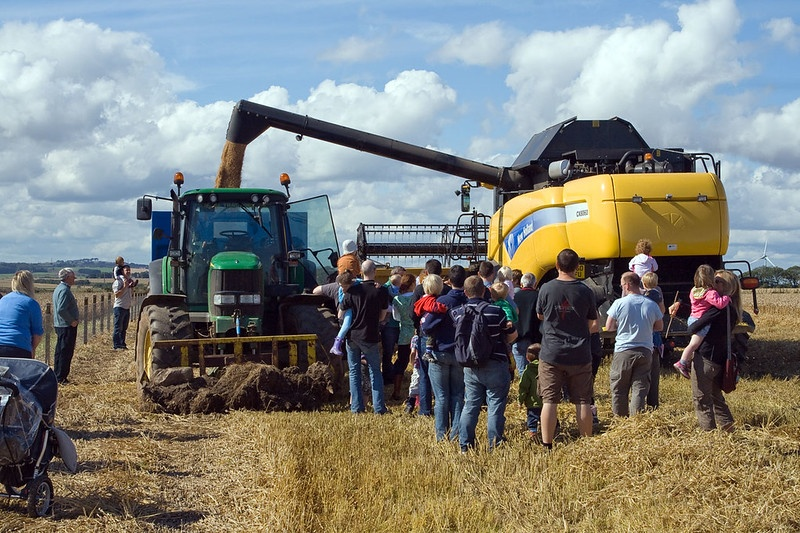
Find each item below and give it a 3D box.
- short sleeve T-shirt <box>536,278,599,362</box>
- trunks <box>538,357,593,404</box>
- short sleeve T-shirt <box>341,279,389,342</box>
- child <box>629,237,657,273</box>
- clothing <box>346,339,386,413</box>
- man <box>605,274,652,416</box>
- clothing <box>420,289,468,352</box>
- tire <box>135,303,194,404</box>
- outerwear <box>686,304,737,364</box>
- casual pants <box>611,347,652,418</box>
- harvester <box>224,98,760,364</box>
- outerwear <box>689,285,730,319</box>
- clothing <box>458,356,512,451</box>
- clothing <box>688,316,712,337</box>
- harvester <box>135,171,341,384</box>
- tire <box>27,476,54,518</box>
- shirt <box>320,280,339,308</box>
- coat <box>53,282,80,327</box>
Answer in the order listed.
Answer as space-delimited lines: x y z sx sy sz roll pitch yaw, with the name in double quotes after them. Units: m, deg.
1.993 0.614 9.341 0.883 1.260 0.807 1 3 17 "short sleeve T-shirt"
2.052 1.344 9.171 0.362 0.718 0.645 8 -3 31 "trunks"
-0.493 0.562 10.622 0.663 0.889 0.299 1 25 -13 "short sleeve T-shirt"
3.696 -0.180 11.681 0.310 0.735 0.451 4 29 13 "child"
-0.494 1.462 10.562 0.466 1.208 0.306 -3 11 6 "clothing"
2.958 1.054 9.798 0.614 2.009 0.550 1 14 15 "man"
0.582 0.658 9.566 0.571 0.823 0.667 2 -2 32 "clothing"
-3.504 1.218 11.378 0.762 0.995 1.124 -2 1 -21 "tire"
3.698 0.814 9.058 0.594 0.779 0.421 5 1 -24 "outerwear"
2.915 1.449 9.704 0.464 1.082 0.361 0 15 18 "casual pants"
2.816 -1.222 16.785 3.099 4.182 9.816 -5 6 -23 "harvester"
3.672 0.370 9.192 0.310 0.378 0.415 12 -3 -12 "outerwear"
0.981 1.607 8.979 0.596 1.057 0.320 -1 1 3 "clothing"
3.548 0.728 9.109 0.084 0.208 0.209 29 -3 -30 "clothing"
-2.827 0.244 13.053 3.055 3.296 5.067 0 -1 -13 "harvester"
-3.602 2.291 7.611 0.130 0.405 0.392 0 7 8 "tire"
-1.026 0.386 11.313 0.136 0.333 0.307 0 1 -38 "shirt"
-5.734 0.643 13.141 0.402 0.765 0.788 1 0 -30 "coat"
